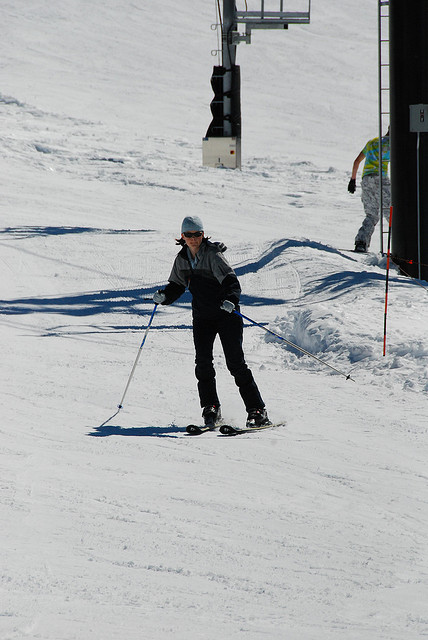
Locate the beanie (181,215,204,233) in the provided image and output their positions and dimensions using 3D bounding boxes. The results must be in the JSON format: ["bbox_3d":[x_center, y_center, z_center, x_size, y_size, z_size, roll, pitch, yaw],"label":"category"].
[{"bbox_3d":[-0.155,-0.678,6.445,0.135,0.098,0.120,0,6,26],"label":"beanie"}]

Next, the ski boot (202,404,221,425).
[{"bbox_3d":[-0.013,0.686,6.775,0.109,0.140,0.147,-6,-16,24],"label":"ski boot"}]

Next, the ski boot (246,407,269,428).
[{"bbox_3d":[0.312,0.703,6.654,0.076,0.092,0.210,-5,6,18],"label":"ski boot"}]

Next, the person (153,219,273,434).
[{"bbox_3d":[-0.018,0.033,6.625,0.876,1.514,0.390,2,9,8],"label":"person"}]
